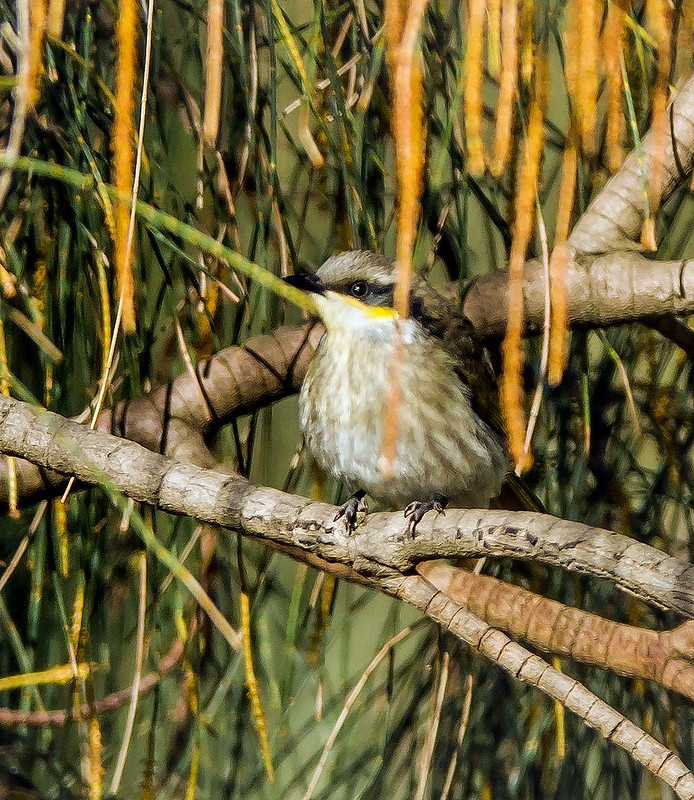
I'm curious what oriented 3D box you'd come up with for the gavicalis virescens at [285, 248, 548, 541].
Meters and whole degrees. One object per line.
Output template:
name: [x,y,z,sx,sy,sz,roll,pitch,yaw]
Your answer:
gavicalis virescens: [0.122,-0.080,3.538,0.358,0.753,0.749,0,11,32]
